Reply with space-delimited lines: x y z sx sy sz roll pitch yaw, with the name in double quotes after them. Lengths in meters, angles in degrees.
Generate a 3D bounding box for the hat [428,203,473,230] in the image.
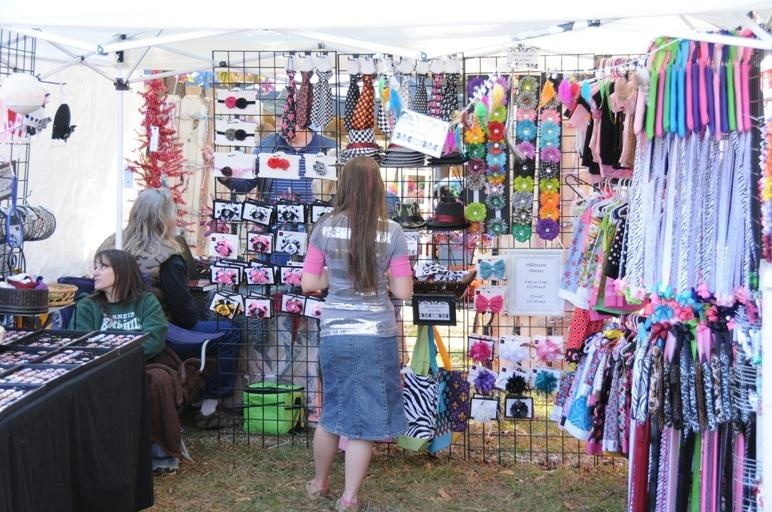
0.468 -0.290 5.681 0.310 0.211 0.165 3 3 0 "hat"

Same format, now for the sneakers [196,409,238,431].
-1.381 1.340 6.364 0.250 0.114 0.213 0 4 -7 "sneakers"

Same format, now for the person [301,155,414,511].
-0.196 0.504 5.041 0.697 2.287 0.309 2 3 1 "person"

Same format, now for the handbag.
0.352 1.093 5.813 0.513 0.699 0.562 -2 -4 29 "handbag"

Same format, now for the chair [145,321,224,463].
-1.521 1.070 5.724 0.313 0.840 0.612 -4 -5 25 "chair"

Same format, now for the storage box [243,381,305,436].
-0.882 1.186 6.290 0.385 0.370 0.407 -1 -6 16 "storage box"

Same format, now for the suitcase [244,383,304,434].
-0.903 1.212 6.254 0.374 0.326 0.396 -1 -6 19 "suitcase"

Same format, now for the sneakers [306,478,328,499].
-0.463 1.571 5.316 0.091 0.114 0.150 9 1 -42 "sneakers"
